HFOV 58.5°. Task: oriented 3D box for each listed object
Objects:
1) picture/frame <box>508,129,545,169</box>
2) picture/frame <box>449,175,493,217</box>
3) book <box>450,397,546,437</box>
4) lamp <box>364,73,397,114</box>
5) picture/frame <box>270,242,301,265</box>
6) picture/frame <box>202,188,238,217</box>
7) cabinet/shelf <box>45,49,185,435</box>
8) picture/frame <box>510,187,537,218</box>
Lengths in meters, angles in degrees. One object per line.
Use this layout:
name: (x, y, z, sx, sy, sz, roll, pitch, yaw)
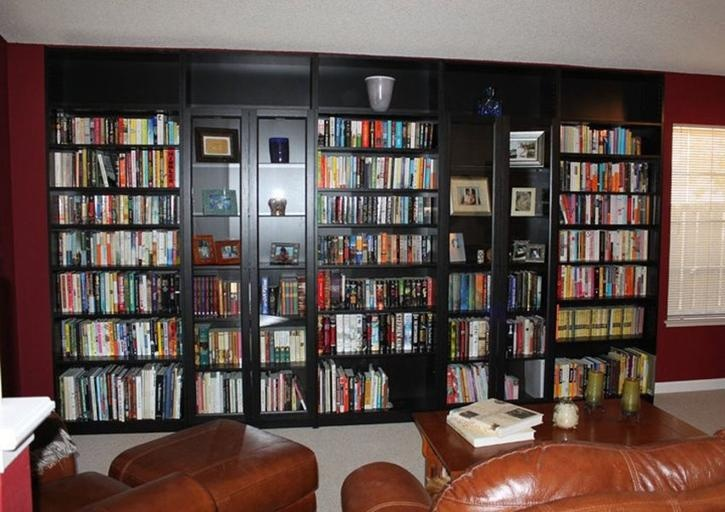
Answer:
picture/frame: (1.352, -0.915, 5.421, 0.323, 0.280, 0.035, -1, 5, -3)
picture/frame: (0.875, -0.513, 5.385, 0.347, 0.303, 0.036, 1, -1, -17)
book: (0.863, 1.054, 4.241, 0.304, 0.069, 0.297, -7, 9, -31)
lamp: (0.154, -1.333, 5.341, 0.283, 0.289, 0.286, 1, 2, 3)
picture/frame: (-0.646, -0.022, 5.335, 0.182, 0.146, 0.014, -1, -3, 0)
picture/frame: (-1.171, -0.431, 5.220, 0.224, 0.195, 0.022, -1, 4, -5)
cabinet/shelf: (-1.961, -0.145, 5.251, 1.091, 3.015, 0.413, -3, 6, -4)
picture/frame: (1.334, -0.466, 5.460, 0.250, 0.293, 0.020, 1, 5, -6)
